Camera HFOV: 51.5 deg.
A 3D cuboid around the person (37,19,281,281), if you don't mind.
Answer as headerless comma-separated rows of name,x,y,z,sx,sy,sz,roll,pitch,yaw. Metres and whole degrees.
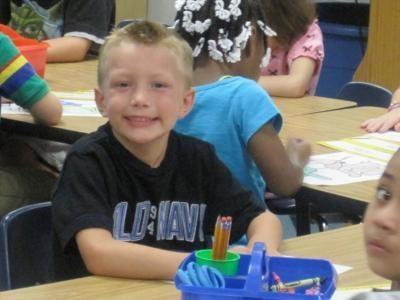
person,-0.063,0.067,1.042,0.547,0.774,0.513,-1,9,1
